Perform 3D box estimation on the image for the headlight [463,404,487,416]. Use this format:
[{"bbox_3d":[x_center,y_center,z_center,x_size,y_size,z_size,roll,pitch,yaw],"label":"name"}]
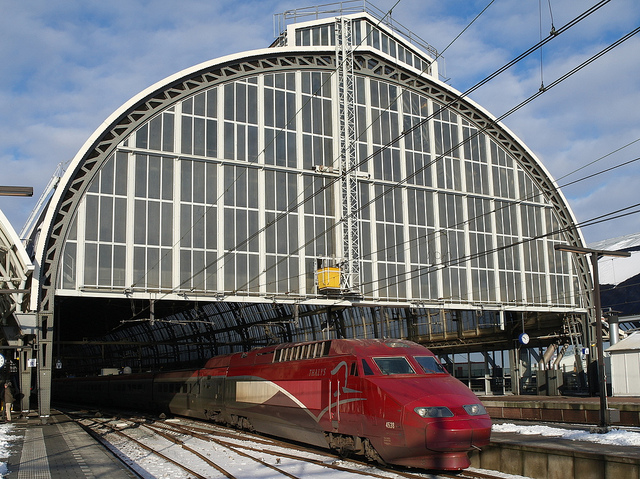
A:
[{"bbox_3d":[6.873,7.675,34.565,0.758,0.252,0.528,1,1,2],"label":"headlight"}]
